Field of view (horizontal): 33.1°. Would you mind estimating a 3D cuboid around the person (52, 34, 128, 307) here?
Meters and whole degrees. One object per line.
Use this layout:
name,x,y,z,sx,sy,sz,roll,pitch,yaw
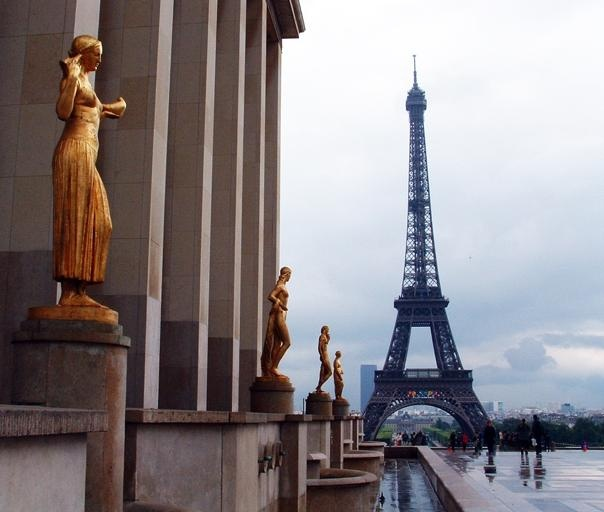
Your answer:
person,-3.163,-1.242,14.574,0.801,3.980,0.442,2,-11,-16
